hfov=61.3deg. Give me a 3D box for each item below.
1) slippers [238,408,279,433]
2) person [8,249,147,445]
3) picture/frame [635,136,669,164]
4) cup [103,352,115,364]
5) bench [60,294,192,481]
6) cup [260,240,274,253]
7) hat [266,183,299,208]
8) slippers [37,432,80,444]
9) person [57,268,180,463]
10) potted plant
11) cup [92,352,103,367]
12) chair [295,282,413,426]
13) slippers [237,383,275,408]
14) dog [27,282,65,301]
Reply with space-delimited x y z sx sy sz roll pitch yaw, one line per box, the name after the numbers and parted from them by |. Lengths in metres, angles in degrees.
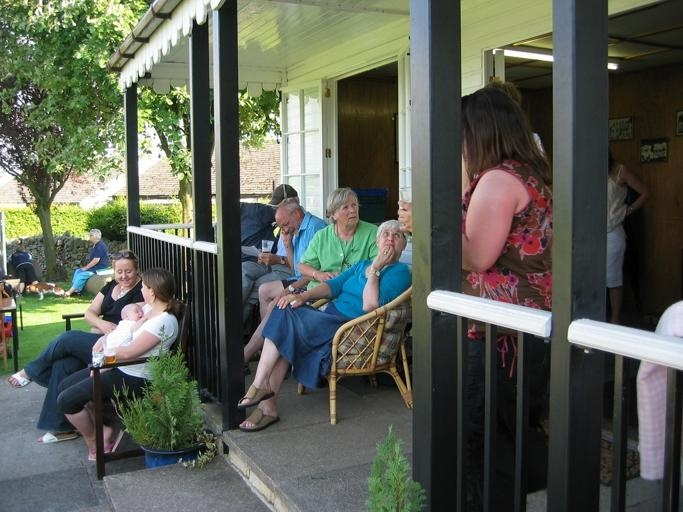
-0.572 1.075 3.843 0.112 0.105 0.234 -1 1 42 | slippers
-2.296 0.766 5.083 1.112 1.602 0.537 -1 3 -38 | person
3.971 -1.357 7.351 0.048 0.334 0.347 -4 4 -28 | picture/frame
-1.730 0.758 4.290 0.071 0.086 0.076 -1 -5 0 | cup
-1.850 1.007 4.971 0.989 1.727 1.130 1 -3 -31 | bench
-0.804 -0.102 6.270 0.148 0.205 0.115 1 1 -42 | cup
-0.653 -0.663 6.279 0.272 0.195 0.207 -3 5 -10 | hat
-2.435 1.545 4.959 0.213 0.068 0.127 7 -7 -26 | slippers
-1.744 0.853 4.521 0.746 1.506 0.523 3 7 -29 | person
-1.255 1.138 4.096 0.533 0.860 0.612 -4 -39 -27 | potted plant
-1.787 0.760 4.230 0.083 0.100 0.083 4 -4 0 | cup
0.147 0.620 4.282 0.768 0.983 0.817 -1 4 0 | chair
-0.568 0.912 3.844 0.099 0.126 0.282 -9 -1 37 | slippers
-6.826 0.820 13.204 0.907 0.462 0.254 -3 -11 17 | dog
